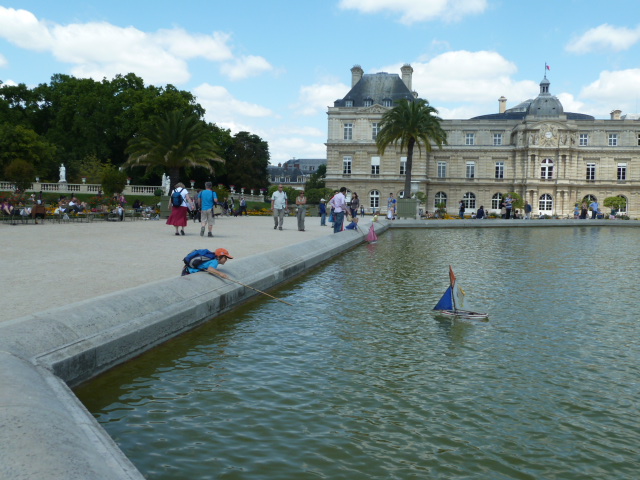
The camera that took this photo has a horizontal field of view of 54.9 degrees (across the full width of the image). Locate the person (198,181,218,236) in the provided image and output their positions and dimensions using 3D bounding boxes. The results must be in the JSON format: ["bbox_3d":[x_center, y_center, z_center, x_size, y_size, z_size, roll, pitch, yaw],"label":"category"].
[{"bbox_3d":[-3.903,-1.054,21.190,0.755,1.868,0.853,1,-1,-33],"label":"person"}]

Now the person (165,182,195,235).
[{"bbox_3d":[-4.824,-1.075,21.215,0.938,1.726,0.698,-1,1,-23],"label":"person"}]

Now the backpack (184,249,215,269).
[{"bbox_3d":[-2.168,0.374,10.978,0.451,0.228,0.326,9,14,-2],"label":"backpack"}]

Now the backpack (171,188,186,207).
[{"bbox_3d":[-4.748,-1.397,20.593,0.429,0.589,0.621,1,3,4],"label":"backpack"}]

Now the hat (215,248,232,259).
[{"bbox_3d":[-1.714,0.268,11.240,0.361,0.170,0.259,3,7,-23],"label":"hat"}]

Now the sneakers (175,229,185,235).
[{"bbox_3d":[-5.031,-0.254,21.878,0.185,0.214,0.539,-4,0,-33],"label":"sneakers"}]
